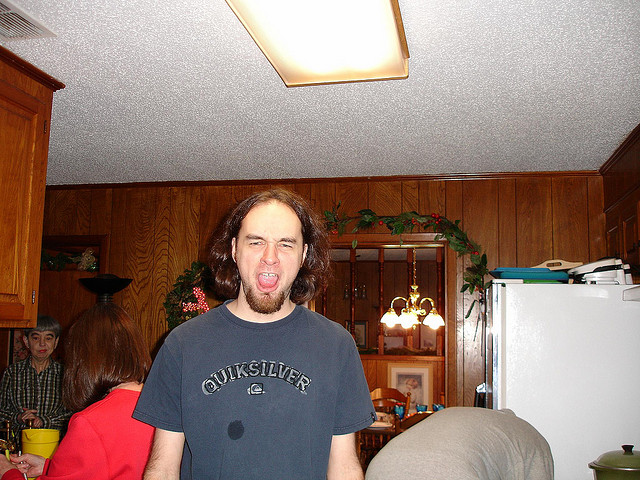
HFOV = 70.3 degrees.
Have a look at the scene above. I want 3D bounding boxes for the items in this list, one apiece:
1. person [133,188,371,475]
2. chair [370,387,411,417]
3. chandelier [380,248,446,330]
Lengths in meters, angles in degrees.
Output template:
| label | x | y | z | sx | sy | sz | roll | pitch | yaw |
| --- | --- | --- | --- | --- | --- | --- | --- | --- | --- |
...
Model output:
| label | x | y | z | sx | sy | sz | roll | pitch | yaw |
| --- | --- | --- | --- | --- | --- | --- | --- | --- | --- |
| person | -0.194 | 0.285 | 1.553 | 0.735 | 0.925 | 0.361 | 1 | -7 | 4 |
| chair | 0.651 | 1.516 | 4.233 | 0.338 | 0.221 | 0.515 | 0 | -9 | 7 |
| chandelier | 0.916 | 0.436 | 4.416 | 0.588 | 0.845 | 0.581 | 1 | -9 | 2 |
